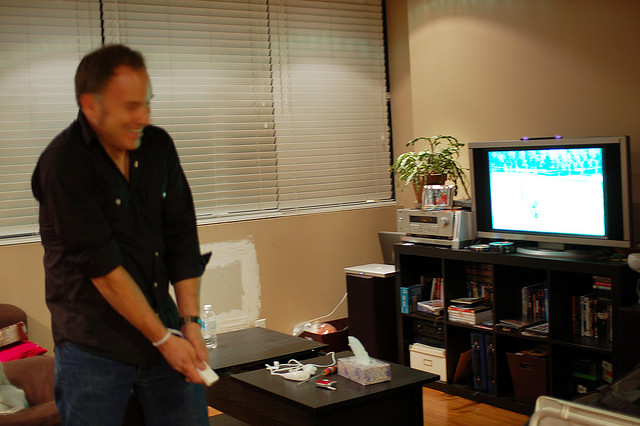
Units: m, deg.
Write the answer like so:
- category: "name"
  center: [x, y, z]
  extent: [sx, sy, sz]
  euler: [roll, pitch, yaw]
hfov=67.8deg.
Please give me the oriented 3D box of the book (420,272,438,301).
- category: "book"
  center: [0.913, 0.626, 4.001]
  extent: [0.084, 0.206, 0.265]
  euler: [-2, -3, 42]

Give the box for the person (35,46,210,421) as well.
- category: "person"
  center: [-0.716, 0.107, 1.699]
  extent: [0.540, 1.377, 0.358]
  euler: [-5, 7, -13]

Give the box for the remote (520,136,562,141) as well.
- category: "remote"
  center: [1.645, -0.573, 3.530]
  extent: [0.144, 0.027, 0.123]
  euler: [0, 6, 7]

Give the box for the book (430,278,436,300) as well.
- category: "book"
  center: [0.938, 0.631, 3.964]
  extent: [0.035, 0.130, 0.142]
  euler: [-2, 3, 9]

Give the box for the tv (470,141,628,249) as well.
- category: "tv"
  center: [1.616, -0.140, 3.290]
  extent: [0.097, 0.531, 0.916]
  euler: [-3, 2, -45]

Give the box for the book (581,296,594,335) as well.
- category: "book"
  center: [1.780, 0.690, 3.174]
  extent: [0.073, 0.253, 0.042]
  euler: [-1, 8, 24]

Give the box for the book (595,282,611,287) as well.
- category: "book"
  center: [1.817, 0.454, 3.056]
  extent: [0.060, 0.012, 0.057]
  euler: [2, 0, 14]

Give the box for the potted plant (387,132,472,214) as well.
- category: "potted plant"
  center: [0.993, -0.401, 4.211]
  extent: [0.681, 0.558, 0.834]
  euler: [0, -5, 17]

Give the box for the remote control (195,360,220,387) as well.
- category: "remote control"
  center: [-0.385, 0.559, 1.650]
  extent: [0.050, 0.019, 0.088]
  euler: [-29, 51, -27]

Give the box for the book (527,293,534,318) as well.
- category: "book"
  center: [1.539, 0.673, 3.487]
  extent: [0.044, 0.170, 0.044]
  euler: [-1, 7, 20]
